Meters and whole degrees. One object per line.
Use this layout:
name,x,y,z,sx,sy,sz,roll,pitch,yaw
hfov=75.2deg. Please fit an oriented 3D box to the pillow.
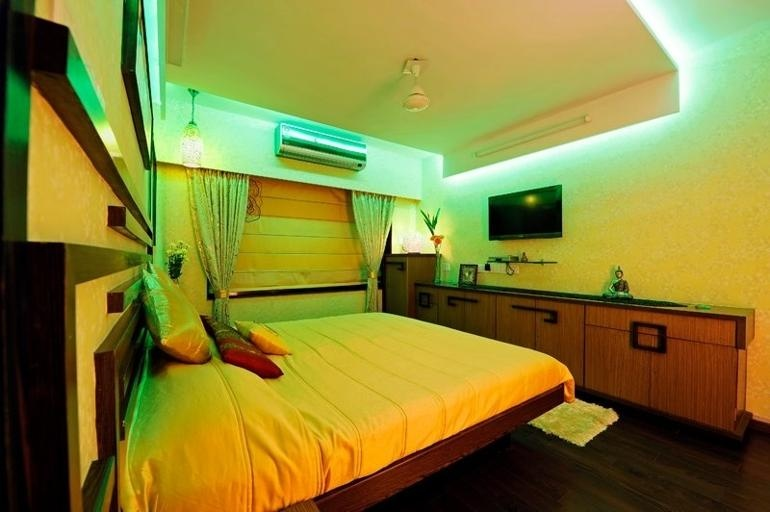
pillow,-1.263,0.546,3.694,0.889,0.426,1.087,6,1,-26

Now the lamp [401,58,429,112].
lamp,0.293,-1.641,4.924,0.248,0.383,0.597,2,1,6

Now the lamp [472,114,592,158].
lamp,1.725,-1.411,5.995,0.071,0.291,1.523,0,2,-39

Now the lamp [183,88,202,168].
lamp,-2.137,-1.390,5.533,0.214,0.796,0.361,1,3,-20

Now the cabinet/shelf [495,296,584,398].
cabinet/shelf,1.516,0.867,4.764,0.368,0.954,1.016,1,-1,-37

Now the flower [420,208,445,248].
flower,0.680,-0.419,7.579,0.214,0.596,0.662,0,2,-27

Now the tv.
tv,1.724,-0.511,6.050,0.077,0.511,0.743,0,-1,-39

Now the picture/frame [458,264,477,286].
picture/frame,1.108,0.270,6.672,0.039,0.263,0.275,11,-3,-34
